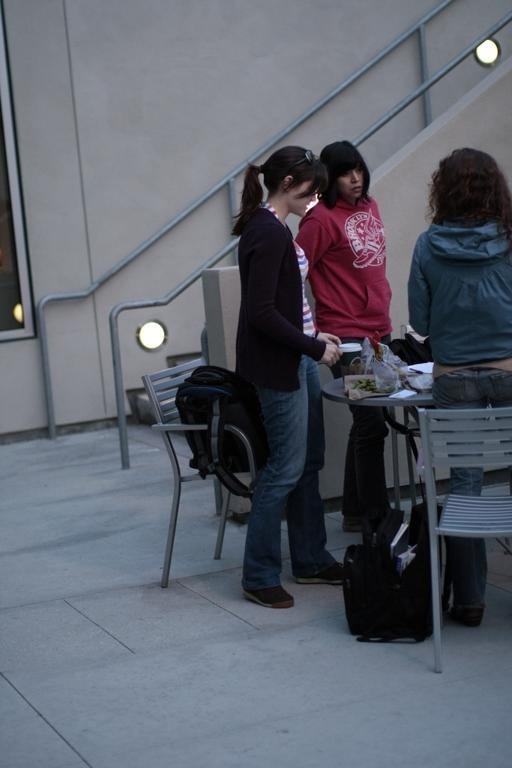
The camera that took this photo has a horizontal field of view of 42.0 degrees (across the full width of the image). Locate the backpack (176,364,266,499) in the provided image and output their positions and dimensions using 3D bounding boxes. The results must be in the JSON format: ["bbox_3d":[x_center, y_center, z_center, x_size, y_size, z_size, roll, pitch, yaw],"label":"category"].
[{"bbox_3d":[-0.113,0.133,2.499,0.283,0.482,0.398,2,16,23],"label":"backpack"}]

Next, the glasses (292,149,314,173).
[{"bbox_3d":[0.148,-0.736,2.201,0.063,0.022,0.064,-40,-8,26],"label":"glasses"}]

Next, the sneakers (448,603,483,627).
[{"bbox_3d":[0.651,0.716,2.098,0.043,0.050,0.121,-4,5,-15],"label":"sneakers"}]

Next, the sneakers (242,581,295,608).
[{"bbox_3d":[0.037,0.735,2.351,0.177,0.069,0.072,-3,-3,41],"label":"sneakers"}]

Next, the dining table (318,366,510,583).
[{"bbox_3d":[0.646,0.251,3.171,0.736,0.435,0.710,-2,8,-4],"label":"dining table"}]

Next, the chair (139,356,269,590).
[{"bbox_3d":[-0.086,0.400,2.591,0.582,0.644,0.524,-4,-5,-13],"label":"chair"}]

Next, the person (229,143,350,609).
[{"bbox_3d":[0.101,-0.009,2.369,0.435,1.236,0.540,-7,2,-16],"label":"person"}]

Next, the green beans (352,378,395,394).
[{"bbox_3d":[0.378,0.006,2.195,0.144,0.040,0.086,-4,2,29],"label":"green beans"}]

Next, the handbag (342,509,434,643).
[{"bbox_3d":[0.474,0.592,2.100,0.269,0.381,0.391,-7,-17,27],"label":"handbag"}]
